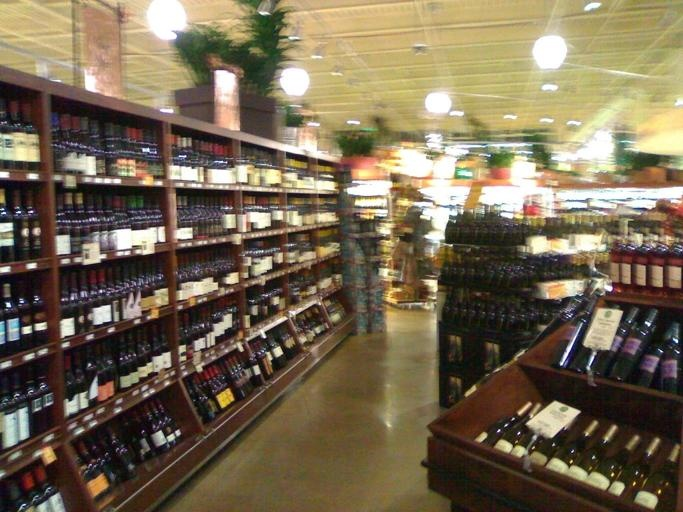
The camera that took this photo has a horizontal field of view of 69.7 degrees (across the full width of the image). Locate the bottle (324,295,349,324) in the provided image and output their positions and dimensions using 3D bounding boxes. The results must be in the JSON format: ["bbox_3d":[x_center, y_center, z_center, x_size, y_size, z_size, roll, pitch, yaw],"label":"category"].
[{"bbox_3d":[-0.081,0.781,6.989,0.210,0.348,0.374,-34,9,10],"label":"bottle"}]

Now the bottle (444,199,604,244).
[{"bbox_3d":[1.549,-0.256,4.314,1.310,0.336,0.445,2,12,22],"label":"bottle"}]

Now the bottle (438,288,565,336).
[{"bbox_3d":[1.354,0.473,4.359,0.651,0.189,0.456,2,5,31],"label":"bottle"}]

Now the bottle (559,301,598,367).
[{"bbox_3d":[1.220,0.412,2.528,0.066,0.062,0.461,-10,24,45],"label":"bottle"}]

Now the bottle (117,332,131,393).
[{"bbox_3d":[-1.563,0.761,3.510,0.084,0.341,0.227,-8,13,-20],"label":"bottle"}]

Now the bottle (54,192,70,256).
[{"bbox_3d":[-1.729,-0.196,3.041,0.094,0.366,0.306,-10,13,-27],"label":"bottle"}]

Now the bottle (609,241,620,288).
[{"bbox_3d":[1.779,0.044,3.202,0.064,0.243,0.263,4,13,28],"label":"bottle"}]

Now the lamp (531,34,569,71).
[{"bbox_3d":[1.412,-1.425,3.347,0.187,0.249,0.434,2,11,19],"label":"lamp"}]

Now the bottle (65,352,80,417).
[{"bbox_3d":[-1.710,0.815,3.102,0.078,0.342,0.232,-9,13,-24],"label":"bottle"}]

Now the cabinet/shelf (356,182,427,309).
[{"bbox_3d":[0.992,-0.181,7.876,0.752,2.269,1.249,2,13,22],"label":"cabinet/shelf"}]

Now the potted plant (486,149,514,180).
[{"bbox_3d":[1.670,-1.017,5.449,0.375,0.296,0.330,0,0,2],"label":"potted plant"}]
